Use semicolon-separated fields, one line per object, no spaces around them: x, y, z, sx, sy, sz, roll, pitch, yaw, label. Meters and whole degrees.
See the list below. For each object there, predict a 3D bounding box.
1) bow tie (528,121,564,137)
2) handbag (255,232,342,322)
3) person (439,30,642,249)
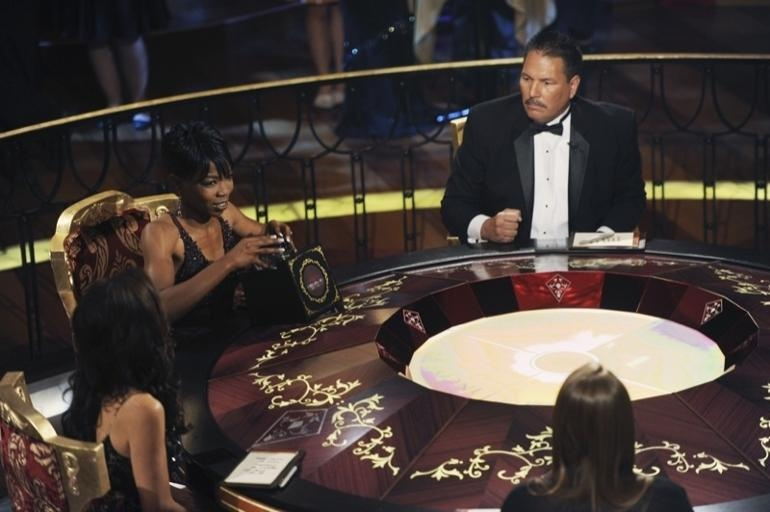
0.870;-0.672;3.564;0.173;0.064;0.131;1;8;20;bow tie
-0.339;0.095;2.654;0.284;0.261;0.283;-15;12;17;handbag
0.857;-0.605;3.496;1.126;1.060;0.733;-1;8;4;person
